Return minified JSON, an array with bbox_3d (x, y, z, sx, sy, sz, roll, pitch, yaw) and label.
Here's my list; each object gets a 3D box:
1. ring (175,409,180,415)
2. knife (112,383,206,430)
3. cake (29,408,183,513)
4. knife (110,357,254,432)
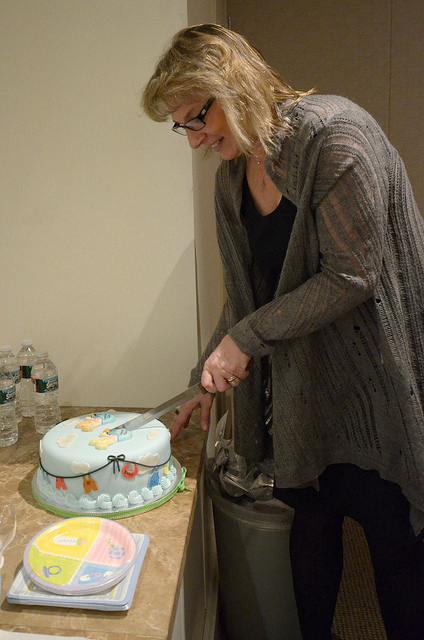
[{"bbox_3d":[-0.102,0.273,1.637,0.016,0.015,0.004,-12,-35,23],"label":"ring"},{"bbox_3d":[-0.134,0.228,1.464,0.289,0.041,0.026,-29,21,-9],"label":"knife"},{"bbox_3d":[-0.221,0.284,1.180,0.328,0.094,0.320,-6,15,-29],"label":"cake"},{"bbox_3d":[-0.129,0.182,1.276,0.215,0.097,0.187,-5,9,-10],"label":"knife"}]
